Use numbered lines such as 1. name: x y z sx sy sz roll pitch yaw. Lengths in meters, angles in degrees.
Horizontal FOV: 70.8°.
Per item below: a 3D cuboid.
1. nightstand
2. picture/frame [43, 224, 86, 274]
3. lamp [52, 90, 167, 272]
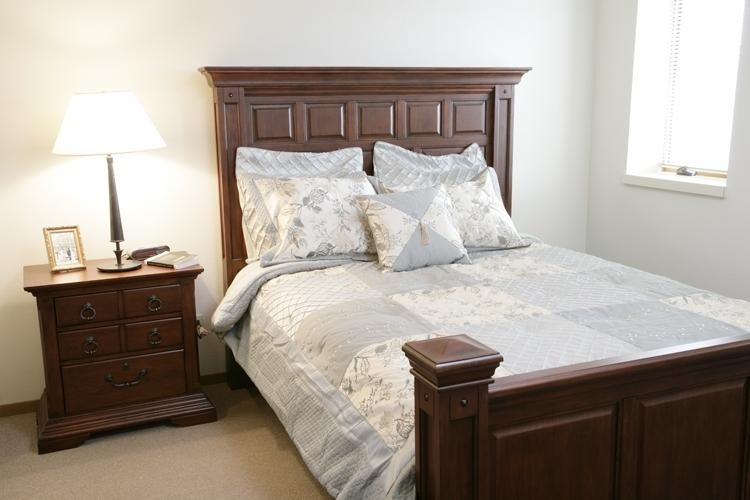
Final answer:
1. nightstand: -1.614 0.672 3.188 0.666 0.905 0.967 -16 -11 42
2. picture/frame: -1.769 0.001 3.004 0.237 0.307 0.034 -14 9 -37
3. lamp: -1.461 -0.377 2.976 0.507 0.979 0.304 -1 13 10
